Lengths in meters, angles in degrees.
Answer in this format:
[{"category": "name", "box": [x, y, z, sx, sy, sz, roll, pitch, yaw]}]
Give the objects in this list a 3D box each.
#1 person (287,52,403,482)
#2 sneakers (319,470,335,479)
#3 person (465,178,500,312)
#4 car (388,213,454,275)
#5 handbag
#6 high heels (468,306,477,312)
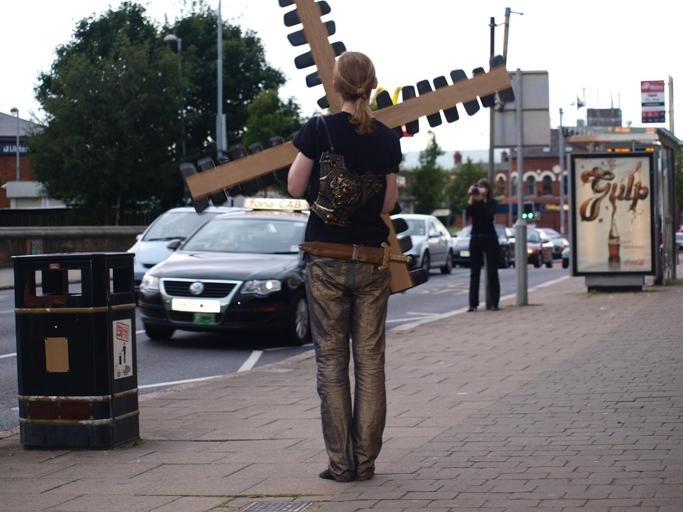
[{"category": "person", "box": [0.070, 0.062, 9.182, 0.832, 2.221, 0.417, -5, 3, -2]}, {"category": "sneakers", "box": [-0.111, 1.644, 9.127, 0.151, 0.058, 0.052, 3, -2, 44]}, {"category": "person", "box": [2.148, -0.176, 18.550, 0.542, 1.998, 0.759, -5, 3, 6]}, {"category": "car", "box": [1.884, -0.379, 29.657, 1.239, 0.872, 2.079, -1, -3, 18]}, {"category": "handbag", "box": [0.023, -0.520, 9.119, 0.478, 0.396, 0.097, 26, 7, -21]}, {"category": "high heels", "box": [2.022, 0.804, 18.443, 0.157, 0.064, 0.052, 4, -2, -4]}]
